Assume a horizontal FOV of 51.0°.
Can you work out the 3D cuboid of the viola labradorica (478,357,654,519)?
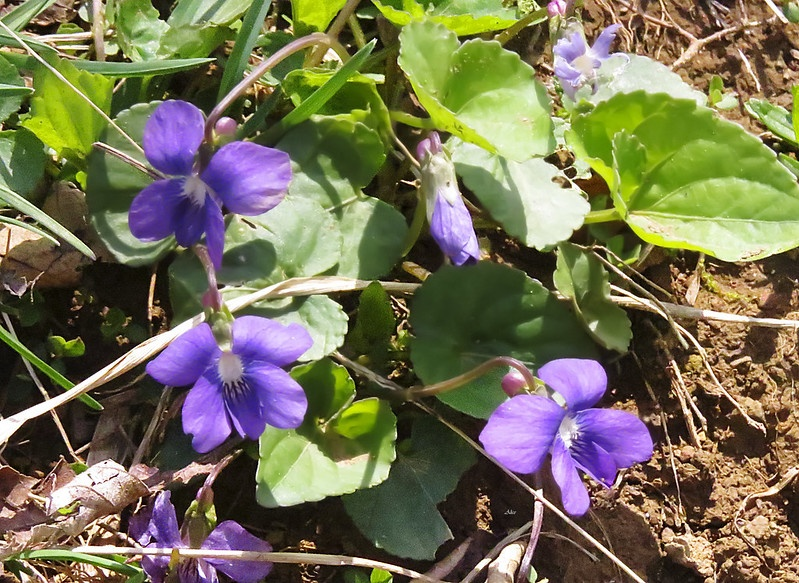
[{"bbox_3d":[0.443,0.368,2.217,0.399,0.144,0.372,-33,65,-21],"label":"viola labradorica"}]

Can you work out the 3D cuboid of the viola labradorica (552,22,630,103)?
[{"bbox_3d":[0.564,-0.722,2.602,0.191,0.233,0.142,2,28,-8],"label":"viola labradorica"}]

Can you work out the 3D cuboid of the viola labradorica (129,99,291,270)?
[{"bbox_3d":[-0.511,-0.273,2.178,0.360,0.419,0.103,6,37,-9],"label":"viola labradorica"}]

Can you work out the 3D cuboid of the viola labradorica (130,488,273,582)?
[{"bbox_3d":[-0.553,0.704,2.305,0.286,0.091,0.304,-10,63,-28],"label":"viola labradorica"}]

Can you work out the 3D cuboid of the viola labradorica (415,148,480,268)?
[{"bbox_3d":[0.132,-0.256,2.446,0.119,0.137,0.402,-7,70,-16],"label":"viola labradorica"}]
